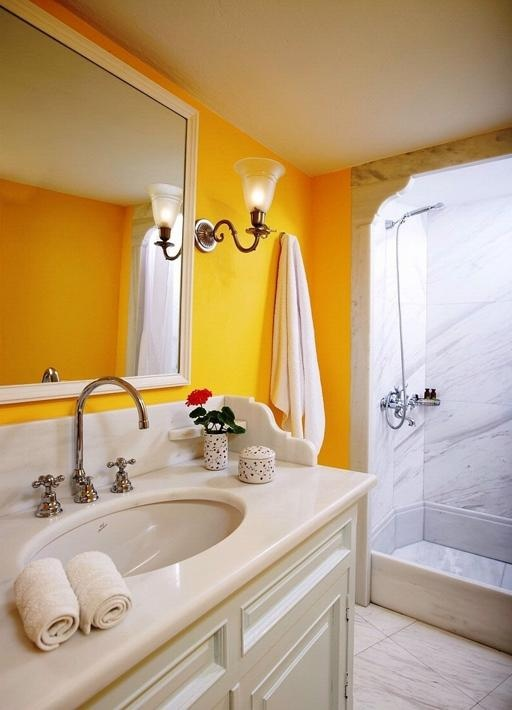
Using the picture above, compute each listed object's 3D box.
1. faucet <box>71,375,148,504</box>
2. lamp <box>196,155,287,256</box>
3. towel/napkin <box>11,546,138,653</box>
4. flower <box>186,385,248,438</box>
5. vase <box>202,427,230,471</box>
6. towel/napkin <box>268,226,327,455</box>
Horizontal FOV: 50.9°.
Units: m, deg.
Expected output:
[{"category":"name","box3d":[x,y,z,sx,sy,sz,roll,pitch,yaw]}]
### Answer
[{"category":"faucet","box3d":[-0.352,0.184,1.253,0.155,0.280,0.297,-1,6,-20]},{"category":"lamp","box3d":[-0.056,-0.445,1.714,0.327,0.257,0.157,-4,-3,39]},{"category":"towel/napkin","box3d":[-0.268,0.348,0.779,0.140,0.064,0.137,-2,7,-32]},{"category":"flower","box3d":[-0.111,0.167,1.570,0.143,0.121,0.137,2,-8,14]},{"category":"vase","box3d":[-0.109,0.273,1.541,0.081,0.141,0.094,-3,-7,39]},{"category":"towel/napkin","box3d":[0.141,-0.052,2.070,0.211,0.843,0.209,4,6,25]}]
